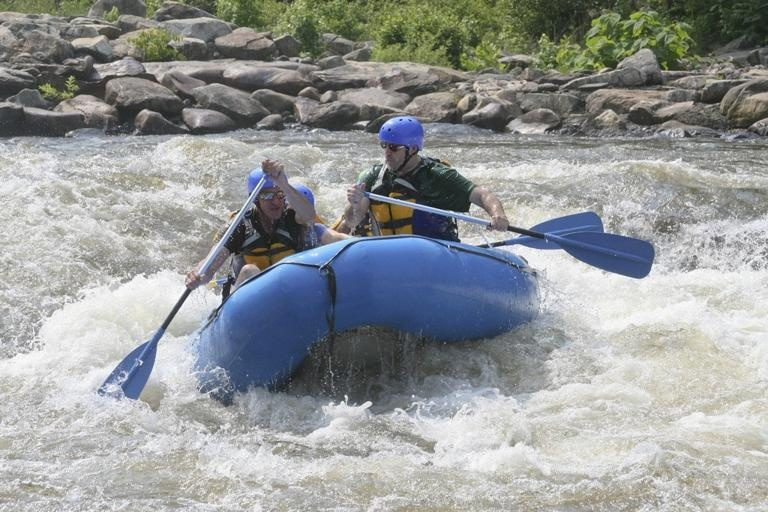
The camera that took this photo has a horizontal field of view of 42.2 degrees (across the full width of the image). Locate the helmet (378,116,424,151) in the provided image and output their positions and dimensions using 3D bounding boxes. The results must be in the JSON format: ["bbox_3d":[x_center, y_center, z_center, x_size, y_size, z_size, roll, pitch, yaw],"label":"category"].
[{"bbox_3d":[0.217,-1.614,12.797,0.513,0.357,0.385,-14,25,-26],"label":"helmet"}]
